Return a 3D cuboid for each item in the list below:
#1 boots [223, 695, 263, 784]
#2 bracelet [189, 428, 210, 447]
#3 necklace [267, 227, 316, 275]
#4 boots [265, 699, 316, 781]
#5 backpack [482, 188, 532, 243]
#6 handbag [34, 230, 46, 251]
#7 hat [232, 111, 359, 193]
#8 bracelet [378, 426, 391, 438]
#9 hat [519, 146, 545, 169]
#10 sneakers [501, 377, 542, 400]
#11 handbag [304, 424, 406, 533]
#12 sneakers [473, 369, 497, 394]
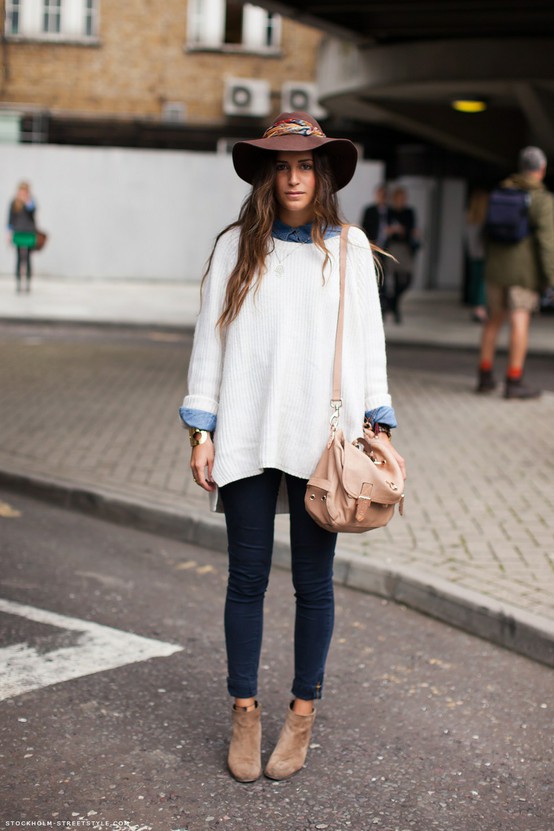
[{"bbox_3d":[-0.087,0.860,2.212,0.073,0.085,0.206,-1,14,-2],"label":"boots"},{"bbox_3d":[-0.206,0.058,2.227,0.040,0.037,0.049,0,3,1],"label":"bracelet"},{"bbox_3d":[0.033,-0.430,2.214,0.104,0.134,0.067,-2,-6,4],"label":"necklace"},{"bbox_3d":[0.045,0.871,2.271,0.073,0.090,0.219,6,13,14],"label":"boots"},{"bbox_3d":[1.252,-1.085,4.625,0.280,0.337,0.195,11,20,38],"label":"backpack"},{"bbox_3d":[-1.069,-0.804,3.920,0.061,0.067,0.080,-6,8,-8],"label":"handbag"},{"bbox_3d":[0.043,-0.687,2.189,0.314,0.193,0.242,3,6,-3],"label":"hat"},{"bbox_3d":[0.277,0.040,2.230,0.022,0.035,0.024,-26,18,25],"label":"bracelet"},{"bbox_3d":[1.313,-1.348,4.477,0.111,0.133,0.135,2,29,6],"label":"hat"},{"bbox_3d":[1.220,-0.125,4.272,0.168,0.114,0.068,-4,10,22],"label":"sneakers"},{"bbox_3d":[0.178,0.153,2.101,0.309,0.318,0.188,3,-2,-41],"label":"handbag"},{"bbox_3d":[1.110,-0.177,4.567,0.100,0.112,0.115,-4,-24,8],"label":"sneakers"}]
